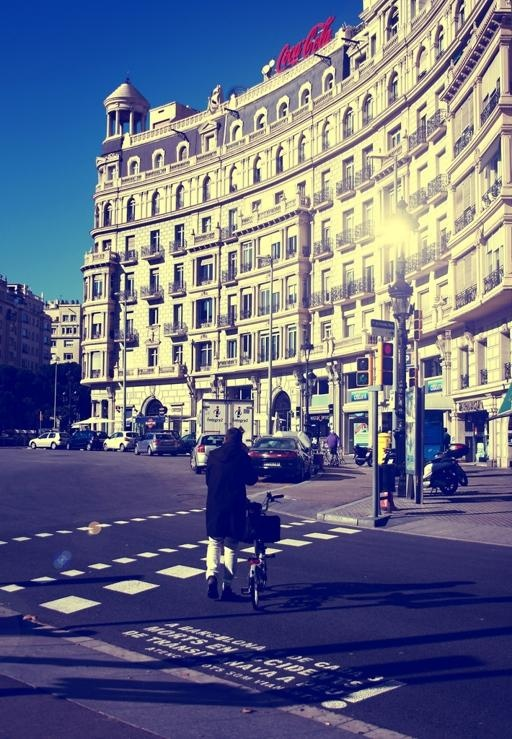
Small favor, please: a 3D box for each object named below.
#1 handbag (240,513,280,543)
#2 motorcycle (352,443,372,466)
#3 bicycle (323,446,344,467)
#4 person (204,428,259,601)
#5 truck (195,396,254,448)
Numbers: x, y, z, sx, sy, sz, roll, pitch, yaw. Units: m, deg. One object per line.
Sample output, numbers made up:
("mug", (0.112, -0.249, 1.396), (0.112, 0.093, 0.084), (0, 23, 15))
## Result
("handbag", (0.056, 1.422, 10.689), (0.350, 0.300, 0.209), (0, 2, -7))
("motorcycle", (3.310, 2.588, 36.311), (0.321, 0.461, 0.624), (2, -6, -30))
("bicycle", (2.521, 2.753, 37.410), (0.434, 0.509, 0.739), (0, -8, -15))
("person", (-0.224, 1.260, 10.726), (0.433, 1.577, 0.459), (-1, -1, -12))
("truck", (-0.983, 1.597, 38.901), (1.524, 1.671, 1.528), (0, -6, -38))
